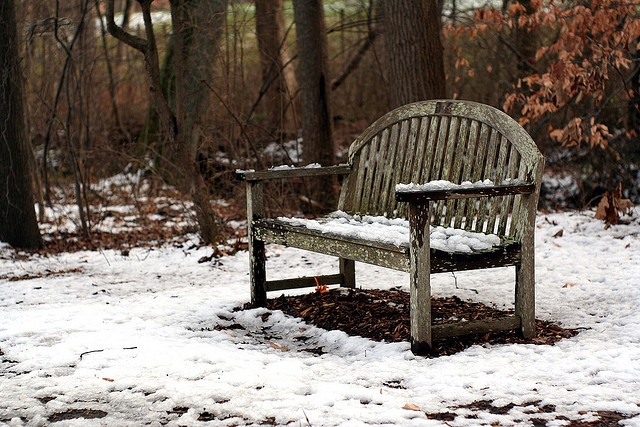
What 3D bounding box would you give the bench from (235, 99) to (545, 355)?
[{"bbox_3d":[0.616,0.014,8.499,1.614,2.308,3.213,-4,7,-32],"label":"bench"}]
